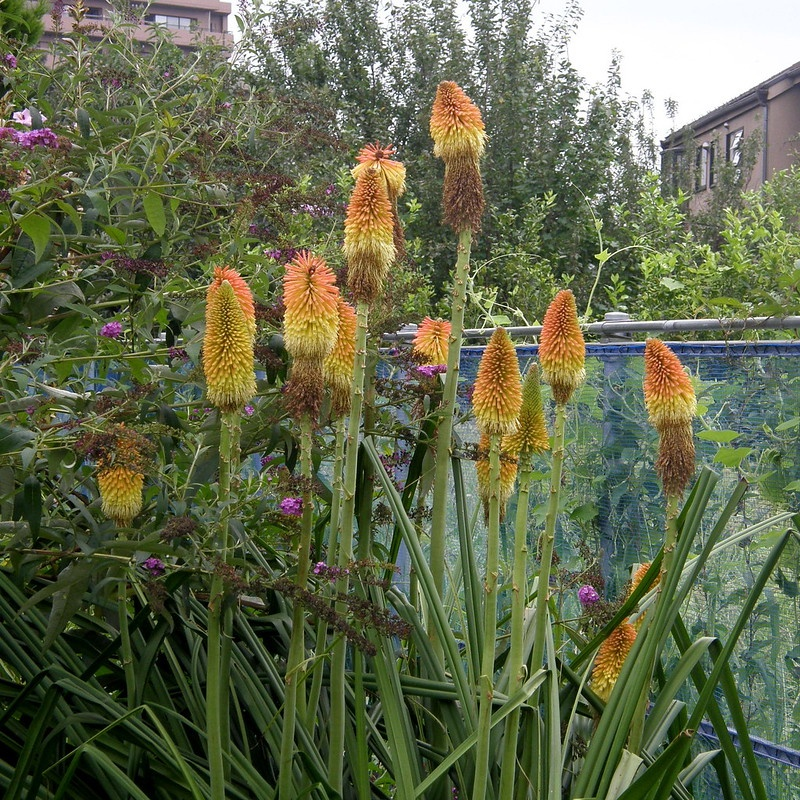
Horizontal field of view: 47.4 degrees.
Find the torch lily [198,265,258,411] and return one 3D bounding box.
[{"bbox_3d":[-0.368,-0.135,1.972,0.105,0.294,0.268,3,9,-12],"label":"torch lily"}]

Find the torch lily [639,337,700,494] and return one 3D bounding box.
[{"bbox_3d":[0.635,0.042,2.181,0.156,0.365,0.295,8,10,18],"label":"torch lily"}]

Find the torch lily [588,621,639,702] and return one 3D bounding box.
[{"bbox_3d":[0.538,0.668,2.347,0.117,0.221,0.092,11,11,32],"label":"torch lily"}]

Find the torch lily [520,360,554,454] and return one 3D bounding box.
[{"bbox_3d":[0.334,0.028,2.238,0.081,0.247,0.200,7,9,9],"label":"torch lily"}]

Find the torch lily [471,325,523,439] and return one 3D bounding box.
[{"bbox_3d":[0.229,-0.030,2.111,0.111,0.275,0.273,7,9,7],"label":"torch lily"}]

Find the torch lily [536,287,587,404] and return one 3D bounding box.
[{"bbox_3d":[0.405,-0.129,2.279,0.118,0.294,0.265,7,9,9],"label":"torch lily"}]

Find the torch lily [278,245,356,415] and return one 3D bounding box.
[{"bbox_3d":[-0.185,-0.152,2.055,0.170,0.354,0.369,5,9,-5],"label":"torch lily"}]

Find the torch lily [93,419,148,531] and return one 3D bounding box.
[{"bbox_3d":[-0.650,0.179,2.122,0.108,0.272,0.221,3,9,-16],"label":"torch lily"}]

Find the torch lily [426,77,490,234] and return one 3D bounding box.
[{"bbox_3d":[0.145,-0.616,2.265,0.153,0.393,0.290,6,9,2],"label":"torch lily"}]
